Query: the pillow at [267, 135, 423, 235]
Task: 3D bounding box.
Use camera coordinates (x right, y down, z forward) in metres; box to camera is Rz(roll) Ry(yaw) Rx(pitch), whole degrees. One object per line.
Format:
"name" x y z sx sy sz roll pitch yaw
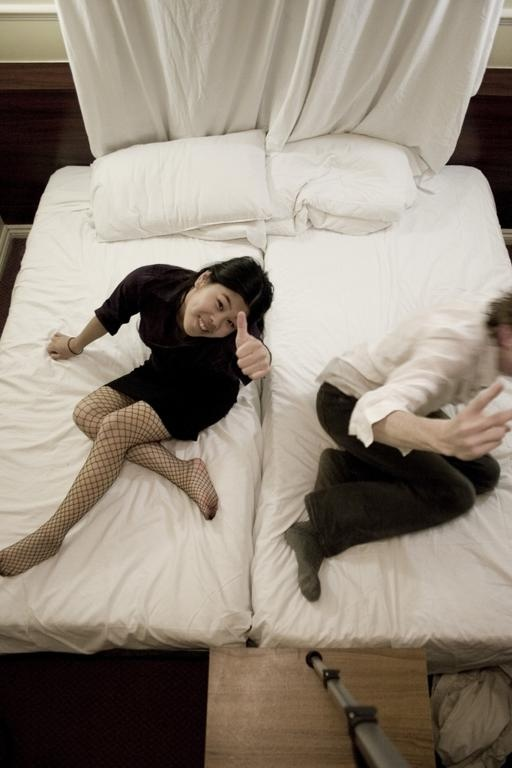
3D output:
"pillow" 0.334 -0.764 2.279 0.486 0.150 0.380 3 72 -1

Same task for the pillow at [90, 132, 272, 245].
"pillow" -0.272 -0.726 2.187 0.576 0.151 0.379 -6 83 3

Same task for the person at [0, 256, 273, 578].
"person" -0.195 0.012 1.666 0.580 0.632 0.859 24 55 -22
